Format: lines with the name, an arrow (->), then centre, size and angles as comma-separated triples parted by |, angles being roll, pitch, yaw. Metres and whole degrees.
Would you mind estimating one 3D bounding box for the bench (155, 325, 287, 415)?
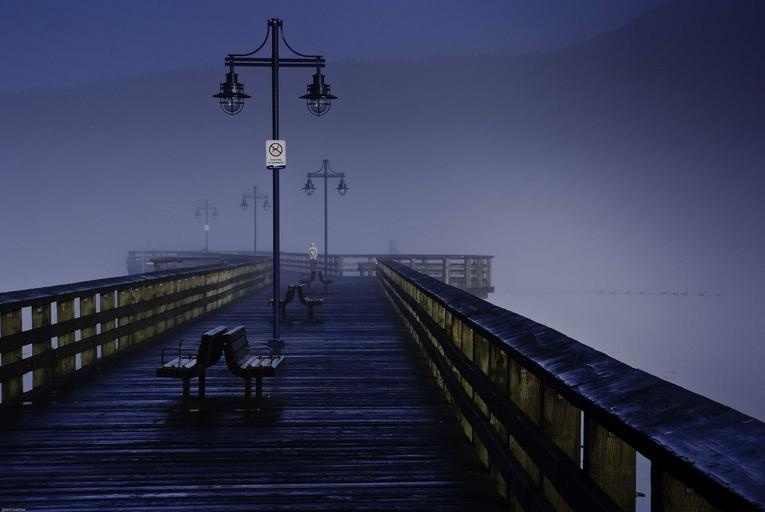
bench -> -1.813, 1.196, 9.279 | 1.101, 0.726, 1.136 | 0, 2, -4
